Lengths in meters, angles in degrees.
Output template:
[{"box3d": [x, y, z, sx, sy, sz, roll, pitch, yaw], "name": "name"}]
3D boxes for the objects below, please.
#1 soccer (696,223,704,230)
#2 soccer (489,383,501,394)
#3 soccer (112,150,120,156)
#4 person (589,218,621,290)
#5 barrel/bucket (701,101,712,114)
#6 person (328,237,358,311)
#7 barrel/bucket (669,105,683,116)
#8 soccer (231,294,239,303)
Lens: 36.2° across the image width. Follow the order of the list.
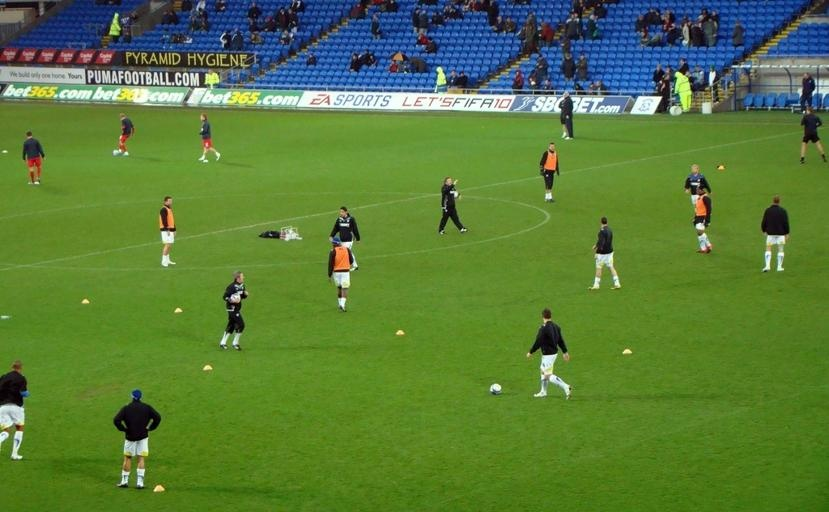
[{"box3d": [12.749, -1.333, 56.167, 0.282, 0.269, 0.284, 10, 22, 39], "name": "soccer"}, {"box3d": [3.007, 4.860, 46.739, 0.444, 0.377, 0.575, -6, 32, 7], "name": "soccer"}, {"box3d": [-17.528, -6.085, 74.600, 0.372, 0.201, 0.464, 1, 9, -7], "name": "soccer"}, {"box3d": [7.922, -0.066, 53.212, 1.211, 3.189, 1.349, 0, 1, 24], "name": "person"}, {"box3d": [18.060, -9.156, 77.832, 0.814, 0.833, 0.786, -1, 3, 0], "name": "barrel/bucket"}, {"box3d": [-2.933, 0.796, 52.125, 1.156, 2.906, 1.088, 1, 0, -10], "name": "person"}, {"box3d": [16.035, -8.882, 77.129, 0.661, 0.621, 0.625, 19, 9, -3], "name": "barrel/bucket"}, {"box3d": [-6.821, 1.628, 48.590, 0.299, 0.184, 0.288, -1, 7, 2], "name": "soccer"}]
